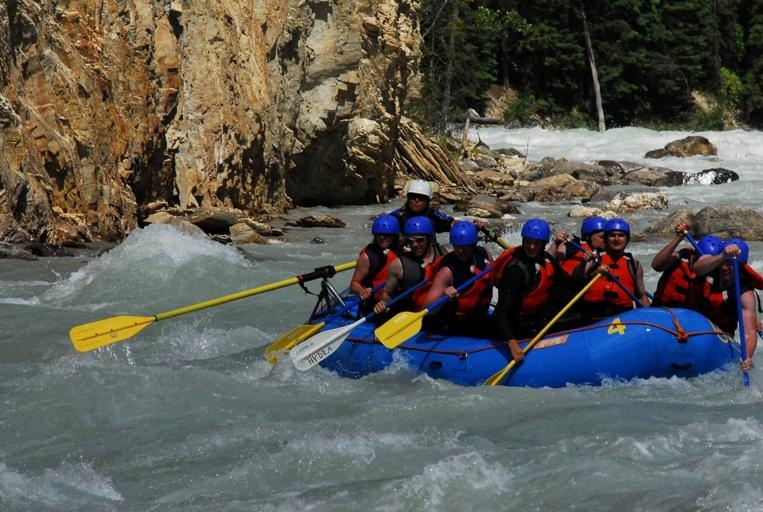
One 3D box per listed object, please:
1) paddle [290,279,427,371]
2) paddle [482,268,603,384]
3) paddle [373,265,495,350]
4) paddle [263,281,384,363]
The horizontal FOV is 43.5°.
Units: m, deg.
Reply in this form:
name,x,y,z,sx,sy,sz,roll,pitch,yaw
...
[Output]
name,x,y,z,sx,sy,sz,roll,pitch,yaw
paddle,-0.231,0.956,12.724,2.187,0.364,0.157,-30,-4,-12
paddle,2.029,0.908,12.065,1.935,0.298,0.206,-44,6,-13
paddle,0.734,0.681,12.377,1.763,0.354,0.134,-34,-5,-3
paddle,-0.770,0.956,13.223,1.717,0.206,0.300,-33,13,-24
